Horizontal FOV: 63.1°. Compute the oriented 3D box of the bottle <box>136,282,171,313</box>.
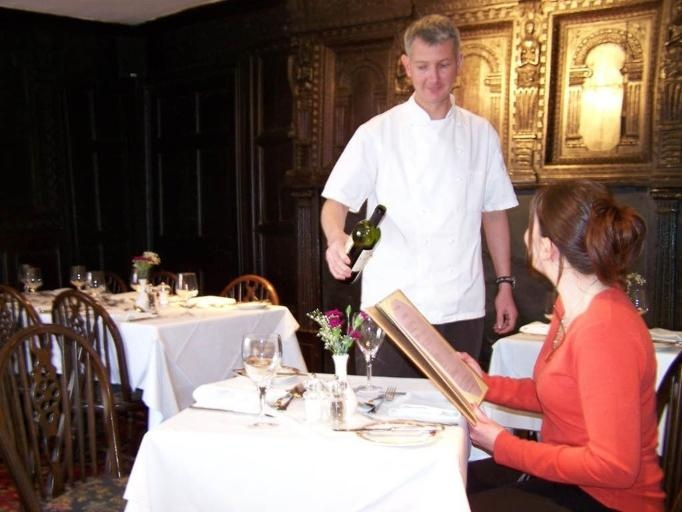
[{"bbox_3d":[-1.354,0.293,3.931,0.223,0.227,0.234,2,0,18],"label":"bottle"}]

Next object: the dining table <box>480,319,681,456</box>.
[{"bbox_3d":[1.103,0.614,3.035,0.826,0.501,0.847,2,4,39],"label":"dining table"}]

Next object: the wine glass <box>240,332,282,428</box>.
[{"bbox_3d":[-0.250,0.385,1.765,0.121,0.304,0.125,7,11,29],"label":"wine glass"}]

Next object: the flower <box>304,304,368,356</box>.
[{"bbox_3d":[0.004,0.276,2.045,0.173,0.215,0.287,-3,7,1],"label":"flower"}]

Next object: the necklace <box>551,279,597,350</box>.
[{"bbox_3d":[0.730,0.149,1.796,0.128,0.157,0.214,-23,7,15],"label":"necklace"}]

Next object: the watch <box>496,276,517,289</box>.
[{"bbox_3d":[0.807,0.129,2.722,0.096,0.054,0.087,-8,-11,26],"label":"watch"}]

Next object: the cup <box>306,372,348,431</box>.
[{"bbox_3d":[-0.037,0.466,1.736,0.124,0.143,0.120,1,-4,0],"label":"cup"}]

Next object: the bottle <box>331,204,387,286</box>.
[{"bbox_3d":[0.103,-0.057,2.143,0.163,0.281,0.355,-2,7,10],"label":"bottle"}]

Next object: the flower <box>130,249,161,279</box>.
[{"bbox_3d":[-1.770,0.065,5.023,0.270,0.301,0.241,4,15,-31],"label":"flower"}]
